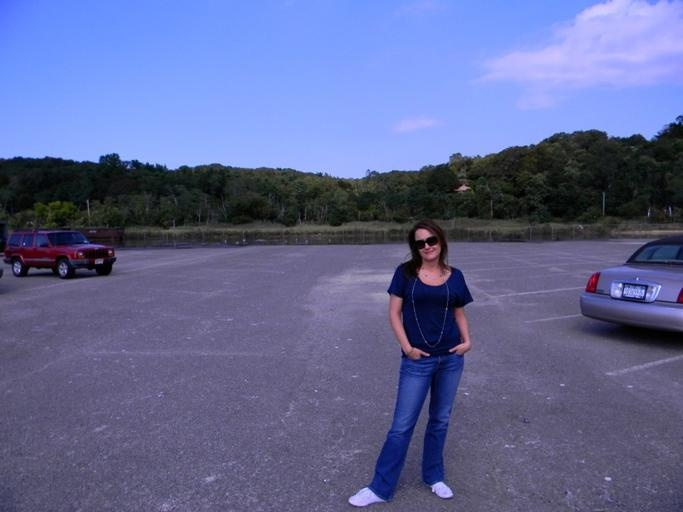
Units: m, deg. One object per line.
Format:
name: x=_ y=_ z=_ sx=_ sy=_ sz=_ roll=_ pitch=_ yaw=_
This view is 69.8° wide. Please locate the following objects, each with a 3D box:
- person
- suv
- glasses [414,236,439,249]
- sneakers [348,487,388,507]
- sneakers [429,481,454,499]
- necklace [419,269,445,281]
person: x=0.671 y=0.897 z=4.212 sx=0.984 sy=2.405 sz=0.335 roll=-3 pitch=6 yaw=-18
suv: x=-11.454 y=-0.136 z=20.169 sx=3.773 sy=1.806 sz=2.163 roll=0 pitch=2 yaw=26
glasses: x=0.719 y=-0.114 z=4.137 sx=0.195 sy=0.109 sz=0.050 roll=-1 pitch=5 yaw=9
sneakers: x=0.201 y=2.069 z=4.177 sx=0.244 sy=0.104 sz=0.146 roll=7 pitch=-9 yaw=-7
sneakers: x=0.881 y=2.045 z=4.278 sx=0.097 sy=0.066 sz=0.155 roll=-4 pitch=-7 yaw=-26
necklace: x=0.766 y=0.168 z=4.174 sx=0.169 sy=0.113 sz=0.044 roll=5 pitch=-16 yaw=-7
